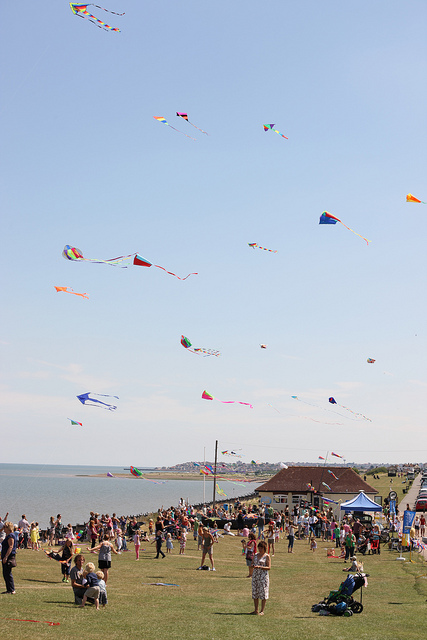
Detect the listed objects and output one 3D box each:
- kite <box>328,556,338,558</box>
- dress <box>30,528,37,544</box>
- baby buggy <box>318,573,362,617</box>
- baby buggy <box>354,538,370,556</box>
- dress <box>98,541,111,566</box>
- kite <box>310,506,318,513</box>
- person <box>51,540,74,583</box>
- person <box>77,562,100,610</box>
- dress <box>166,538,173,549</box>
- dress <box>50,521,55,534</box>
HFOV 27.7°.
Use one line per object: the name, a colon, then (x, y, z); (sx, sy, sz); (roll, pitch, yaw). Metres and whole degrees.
kite: (4.687, 9.215, 33.653); (0.308, 0.031, 0.628); (-7, -13, 38)
dress: (-6.650, 8.020, 32.228); (0.210, 0.524, 0.184); (7, -14, -22)
baby buggy: (3.046, 6.587, 20.594); (1.002, 0.715, 0.738); (-1, -5, 4)
baby buggy: (6.057, 9.138, 34.975); (0.541, 0.661, 1.039); (4, -12, -12)
dress: (-2.732, 5.887, 21.798); (0.261, 0.538, 0.375); (4, -12, -7)
kite: (5.280, 9.947, 45.528); (0.301, 0.066, 0.278); (29, 2, -44)
person: (-4.012, 6.406, 23.016); (0.674, 1.065, 0.750); (1, -11, 7)
person: (-2.827, 6.093, 19.869); (0.466, 0.949, 0.646); (3, -12, -6)
dress: (-1.694, 8.461, 32.782); (0.178, 0.387, 0.434); (3, -12, -2)
dress: (-6.580, 8.523, 35.413); (0.199, 0.411, 0.375); (5, -12, -11)
